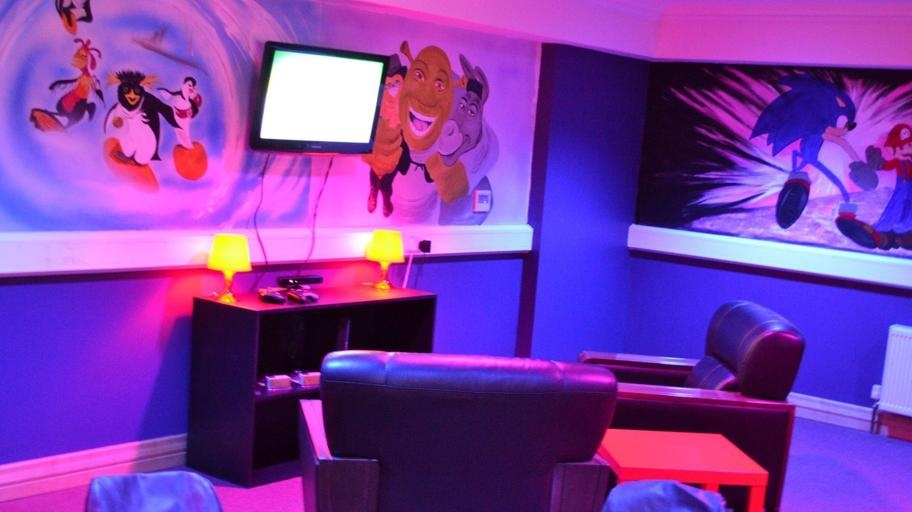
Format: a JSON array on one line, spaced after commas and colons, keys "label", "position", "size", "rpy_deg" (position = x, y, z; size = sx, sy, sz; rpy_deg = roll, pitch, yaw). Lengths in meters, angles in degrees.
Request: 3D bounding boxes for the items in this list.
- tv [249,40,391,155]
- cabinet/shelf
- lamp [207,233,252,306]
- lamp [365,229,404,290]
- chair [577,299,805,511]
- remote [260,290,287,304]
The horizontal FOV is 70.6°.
[{"label": "tv", "position": [-1.130, -1.265, 5.111], "size": [0.992, 0.681, 0.099], "rpy_deg": [9, 9, -28]}, {"label": "cabinet/shelf", "position": [-1.117, 0.922, 4.475], "size": [0.538, 1.044, 1.634], "rpy_deg": [4, 3, 40]}, {"label": "lamp", "position": [-1.753, 0.082, 4.874], "size": [0.341, 0.503, 0.209], "rpy_deg": [5, 6, 31]}, {"label": "lamp", "position": [-0.629, 0.025, 5.562], "size": [0.312, 0.497, 0.249], "rpy_deg": [6, 6, 38]}, {"label": "chair", "position": [1.616, 1.049, 5.468], "size": [1.790, 1.678, 1.504], "rpy_deg": [6, 4, 5]}, {"label": "remote", "position": [-1.406, 0.307, 4.934], "size": [0.160, 0.084, 0.234], "rpy_deg": [-2, 6, -44]}]
